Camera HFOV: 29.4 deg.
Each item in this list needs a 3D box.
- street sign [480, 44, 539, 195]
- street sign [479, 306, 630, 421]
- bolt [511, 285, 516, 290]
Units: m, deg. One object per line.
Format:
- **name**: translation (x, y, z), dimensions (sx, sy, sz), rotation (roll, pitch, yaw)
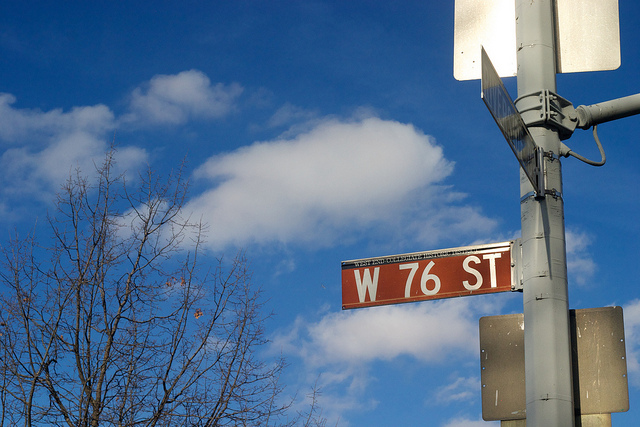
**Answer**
- **street sign**: translation (2.005, -1.071, 12.381), dimensions (0.044, 0.745, 2.101), rotation (-12, -53, 19)
- **street sign**: translation (2.393, 1.537, 12.526), dimensions (1.584, 1.260, 0.423), rotation (-14, -33, 13)
- **bolt**: translation (2.036, 0.783, 12.786), dimensions (0.057, 0.053, 0.004), rotation (-28, -39, 31)
